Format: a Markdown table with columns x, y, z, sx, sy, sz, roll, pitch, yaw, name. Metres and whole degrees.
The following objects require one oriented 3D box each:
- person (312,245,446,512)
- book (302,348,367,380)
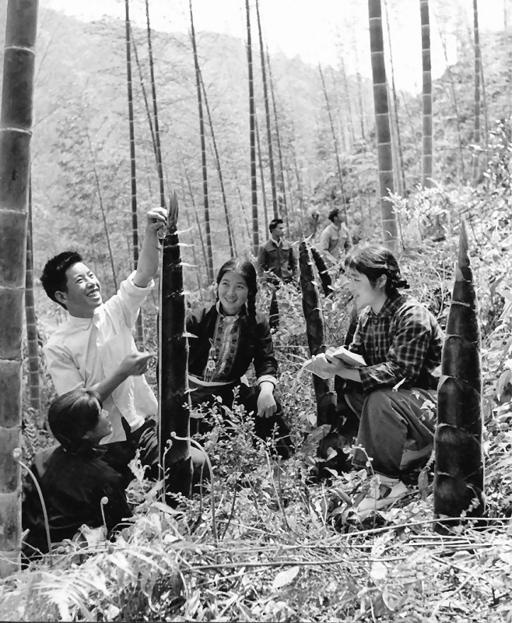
| x | y | z | sx | sy | sz | roll | pitch | yaw | name |
| --- | --- | --- | --- | --- | --- | --- | --- | --- | --- |
| 0.305 | 0.131 | 1.803 | 0.333 | 0.677 | 0.620 | -6 | -1 | 14 | person |
| 0.195 | 0.136 | 1.790 | 0.118 | 0.045 | 0.093 | 5 | -7 | -33 | book |
